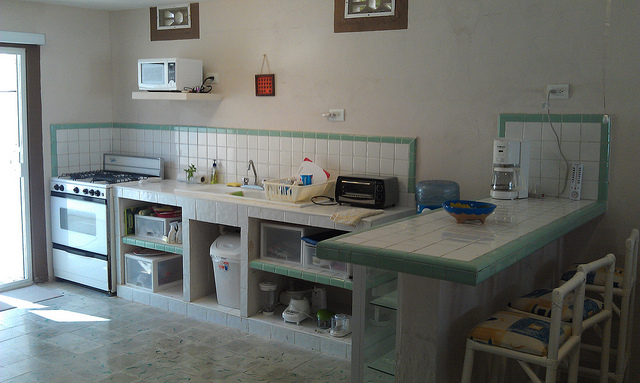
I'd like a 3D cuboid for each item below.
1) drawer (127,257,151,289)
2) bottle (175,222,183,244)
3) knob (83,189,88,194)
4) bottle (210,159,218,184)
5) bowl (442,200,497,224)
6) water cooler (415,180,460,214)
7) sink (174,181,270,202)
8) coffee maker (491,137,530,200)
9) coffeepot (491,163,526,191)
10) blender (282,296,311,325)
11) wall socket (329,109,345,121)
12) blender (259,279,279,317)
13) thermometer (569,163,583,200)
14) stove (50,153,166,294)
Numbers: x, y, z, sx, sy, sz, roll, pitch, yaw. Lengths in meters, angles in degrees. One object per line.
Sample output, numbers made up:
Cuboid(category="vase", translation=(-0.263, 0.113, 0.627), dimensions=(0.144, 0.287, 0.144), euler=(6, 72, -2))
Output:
Cuboid(category="drawer", translation=(-2.212, 1.001, 5.872), dimensions=(0.389, 0.258, 0.210), euler=(7, 11, 28))
Cuboid(category="bottle", translation=(-1.686, 0.495, 5.700), dimensions=(0.064, 0.240, 0.078), euler=(-3, 10, -21))
Cuboid(category="knob", translation=(-2.909, 0.002, 5.937), dimensions=(0.054, 0.052, 0.043), euler=(-9, 16, -40))
Cuboid(category="bottle", translation=(-1.336, -0.247, 6.032), dimensions=(0.081, 0.301, 0.091), euler=(-1, 9, -11))
Cuboid(category="bowl", translation=(1.167, 0.158, 3.782), dimensions=(0.373, 0.156, 0.276), euler=(3, 9, 16))
Cuboid(category="water cooler", translation=(1.149, 0.040, 4.685), dimensions=(0.374, 0.305, 0.356), euler=(0, 2, 3))
Cuboid(category="sink", translation=(-1.184, -0.001, 5.682), dimensions=(1.015, 0.144, 0.608), euler=(5, 10, 30))
Cuboid(category="coffee maker", translation=(1.754, -0.224, 4.537), dimensions=(0.392, 0.566, 0.330), euler=(-3, 7, -40))
Cuboid(category="coffeepot", translation=(1.750, -0.124, 4.525), dimensions=(0.227, 0.327, 0.368), euler=(3, 1, 40))
Cuboid(category="blender", translation=(-0.252, 1.285, 5.230), dimensions=(0.251, 0.238, 0.360), euler=(5, 10, 26))
Cuboid(category="wall socket", translation=(0.183, -0.851, 5.360), dimensions=(0.172, 0.125, 0.037), euler=(5, 10, 27))
Cuboid(category="blender", translation=(-0.556, 1.163, 5.303), dimensions=(0.210, 0.363, 0.217), euler=(-4, 10, -27))
Cuboid(category="thermometer", translation=(2.394, -0.088, 4.495), dimensions=(0.086, 0.327, 0.058), euler=(5, 10, 27))
Cuboid(category="stove", translation=(-2.878, 0.384, 6.539), dimensions=(1.187, 1.442, 1.053), euler=(6, 10, 27))
